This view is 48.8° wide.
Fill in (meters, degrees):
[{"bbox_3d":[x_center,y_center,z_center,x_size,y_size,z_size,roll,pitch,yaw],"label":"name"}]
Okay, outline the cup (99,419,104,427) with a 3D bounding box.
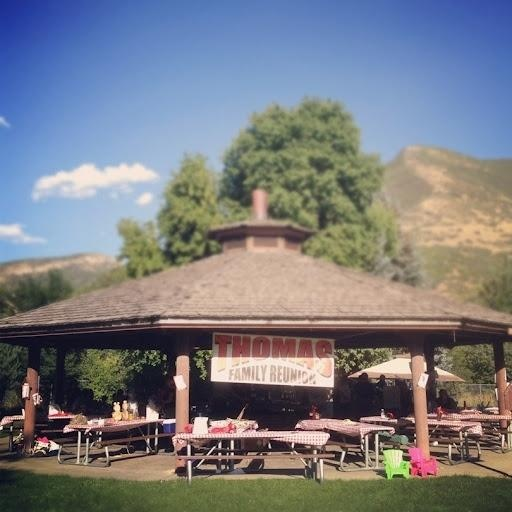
[{"bbox_3d":[-3.831,4.184,14.000,0.152,0.197,0.145,2,-5,0],"label":"cup"}]
